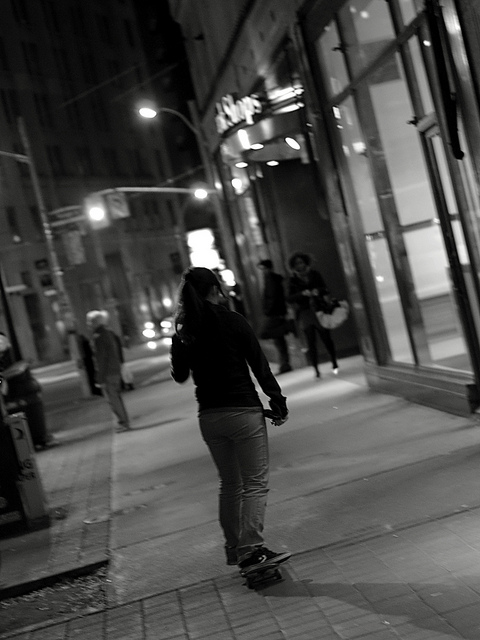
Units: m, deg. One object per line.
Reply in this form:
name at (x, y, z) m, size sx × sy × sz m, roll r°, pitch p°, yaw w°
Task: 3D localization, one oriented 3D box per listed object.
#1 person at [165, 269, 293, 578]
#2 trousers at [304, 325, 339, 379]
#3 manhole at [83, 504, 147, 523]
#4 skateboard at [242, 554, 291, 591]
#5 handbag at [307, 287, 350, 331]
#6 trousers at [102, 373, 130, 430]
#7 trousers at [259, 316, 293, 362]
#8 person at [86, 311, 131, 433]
person at (-0.018, 0.535, 3.832) m, size 0.542 × 1.642 × 0.595 m, roll -15°, pitch 2°, yaw -9°
trousers at (1.388, 0.495, 12.160) m, size 0.443 × 0.882 × 1.074 m, roll -14°, pitch 2°, yaw 6°
manhole at (-1.084, 1.709, 6.320) m, size 0.541 × 0.031 × 0.418 m, roll -14°, pitch 2°, yaw -15°
skateboard at (0.138, 1.268, 3.604) m, size 0.185 × 0.090 × 0.254 m, roll -15°, pitch -4°, yaw -2°
handbag at (1.383, -0.193, 10.581) m, size 0.536 × 0.677 × 0.181 m, roll -32°, pitch -6°, yaw 20°
trousers at (-2.033, 1.369, 11.897) m, size 0.350 × 0.982 × 0.538 m, roll -15°, pitch 2°, yaw -12°
trousers at (0.746, 0.376, 13.689) m, size 0.628 × 0.856 × 0.610 m, roll -14°, pitch 2°, yaw 2°
person at (-2.118, 0.859, 11.699) m, size 0.495 × 2.060 × 0.745 m, roll -15°, pitch 2°, yaw -11°
